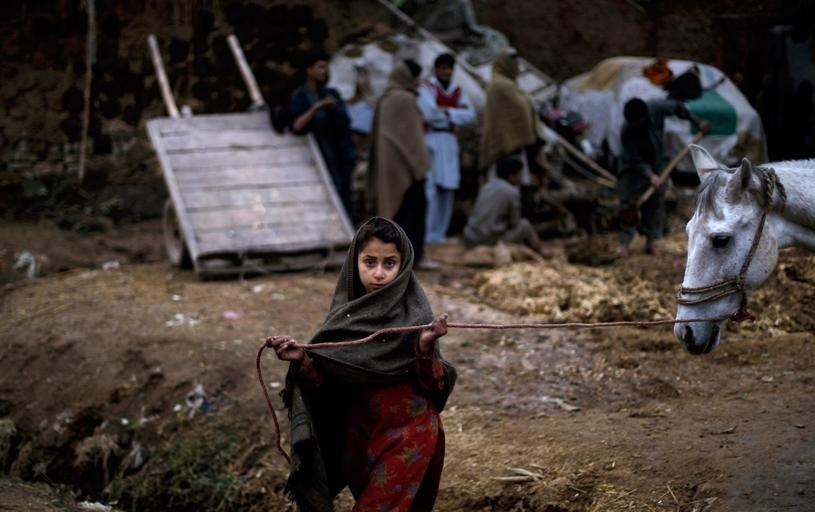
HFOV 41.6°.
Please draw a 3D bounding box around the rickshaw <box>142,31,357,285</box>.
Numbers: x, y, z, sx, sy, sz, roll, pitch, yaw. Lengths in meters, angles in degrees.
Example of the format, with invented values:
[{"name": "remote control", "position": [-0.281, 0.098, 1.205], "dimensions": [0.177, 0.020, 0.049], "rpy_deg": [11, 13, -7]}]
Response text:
[{"name": "rickshaw", "position": [-1.861, -0.823, 11.681], "dimensions": [1.801, 2.660, 1.917], "rpy_deg": [2, -3, -30]}]
